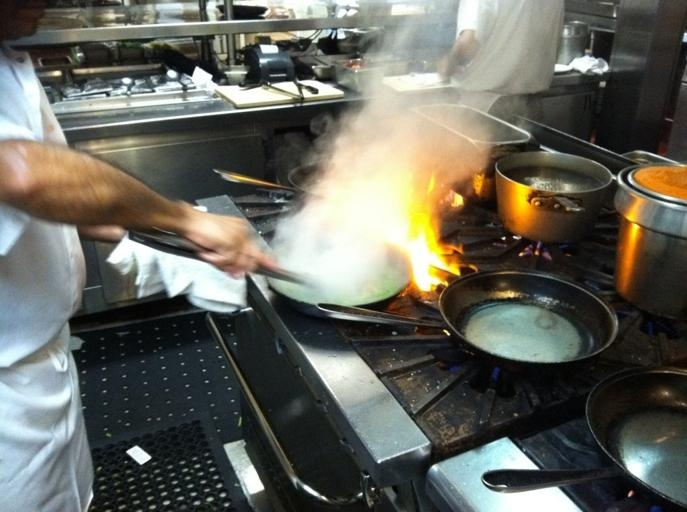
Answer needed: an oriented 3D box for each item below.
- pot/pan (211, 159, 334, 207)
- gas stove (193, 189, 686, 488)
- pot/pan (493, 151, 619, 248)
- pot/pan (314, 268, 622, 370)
[{"bbox_3d":[-0.260,-0.220,1.537,0.040,0.042,0.445,-27,-8,15],"label":"pot/pan"},{"bbox_3d":[0.122,0.173,1.270,0.558,0.719,0.847,-13,34,-23],"label":"gas stove"},{"bbox_3d":[0.563,-0.132,1.368,0.315,0.158,0.429,2,28,9],"label":"pot/pan"},{"bbox_3d":[0.256,0.138,1.074,0.625,0.071,0.330,-1,29,-10],"label":"pot/pan"}]
